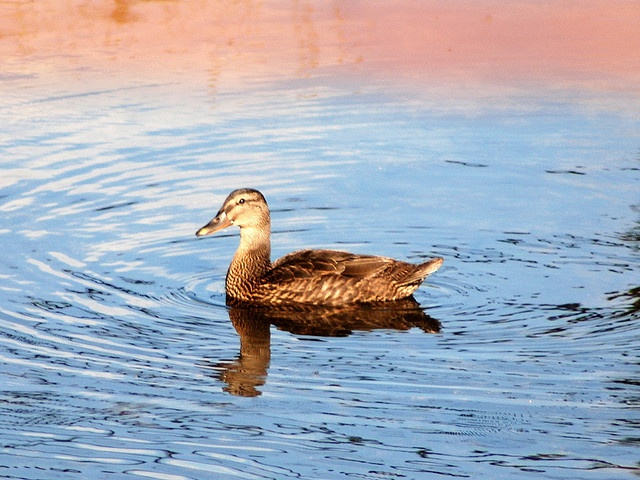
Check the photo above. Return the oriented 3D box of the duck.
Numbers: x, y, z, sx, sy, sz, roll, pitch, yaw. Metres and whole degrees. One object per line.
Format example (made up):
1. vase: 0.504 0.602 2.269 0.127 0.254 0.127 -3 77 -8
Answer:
1. duck: -0.281 0.251 11.917 3.118 1.538 1.505 16 39 31
